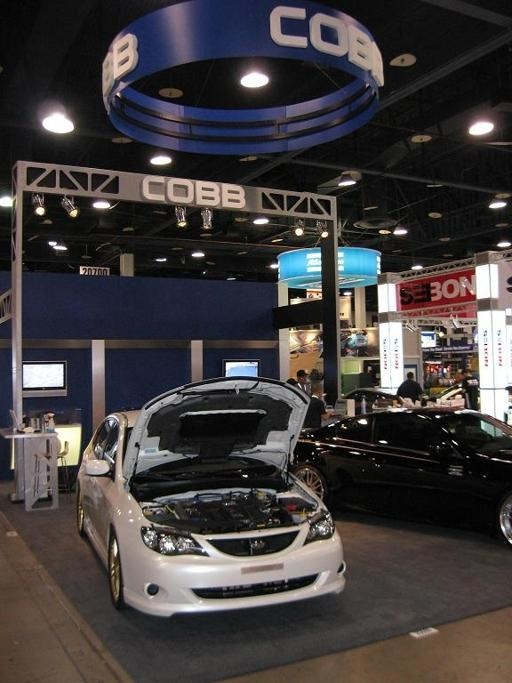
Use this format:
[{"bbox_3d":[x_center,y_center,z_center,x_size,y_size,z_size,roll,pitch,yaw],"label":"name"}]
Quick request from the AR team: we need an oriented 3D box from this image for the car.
[{"bbox_3d":[-0.340,1.017,3.941,1.521,1.500,1.701,2,-7,-28],"label":"car"}]

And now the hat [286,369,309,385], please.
[{"bbox_3d":[0.939,0.864,13.221,0.542,0.274,0.329,-6,9,-14],"label":"hat"}]

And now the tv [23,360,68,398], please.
[{"bbox_3d":[-4.496,0.765,11.617,0.855,0.696,0.110,-1,2,-32],"label":"tv"}]
